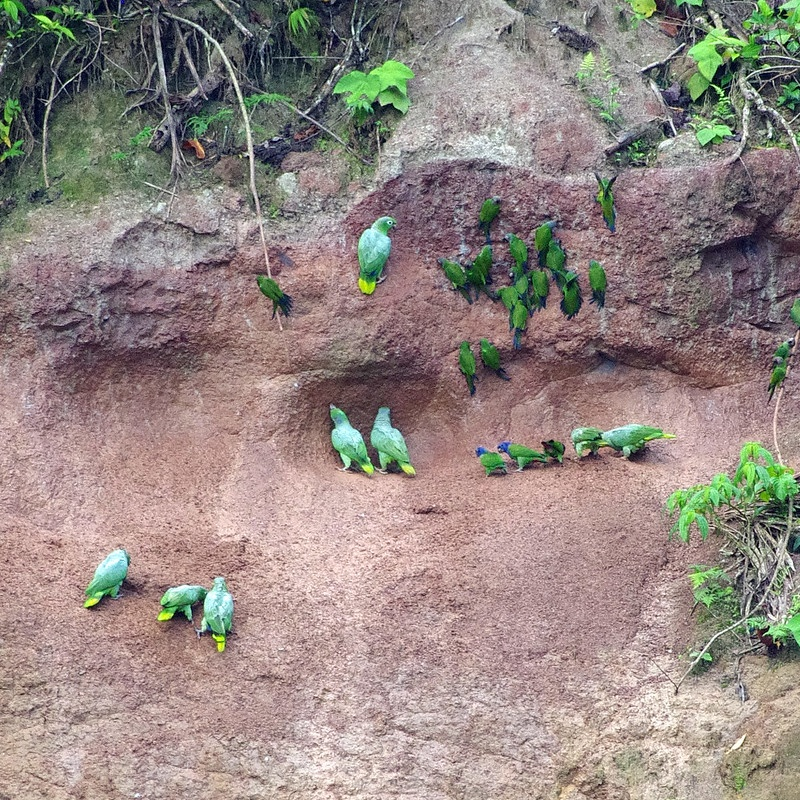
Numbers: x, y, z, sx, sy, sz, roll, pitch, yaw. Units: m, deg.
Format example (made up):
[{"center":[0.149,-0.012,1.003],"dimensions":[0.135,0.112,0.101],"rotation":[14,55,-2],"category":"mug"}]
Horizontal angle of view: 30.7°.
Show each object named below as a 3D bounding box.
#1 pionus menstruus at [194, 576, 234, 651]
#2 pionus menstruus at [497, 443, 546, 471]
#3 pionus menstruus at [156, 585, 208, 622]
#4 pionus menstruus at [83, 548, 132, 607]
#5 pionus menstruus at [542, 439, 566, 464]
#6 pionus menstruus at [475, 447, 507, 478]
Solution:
[{"center":[-1.217,1.431,9.775],"dimensions":[0.213,0.435,0.494],"rotation":[8,80,-6],"category":"pionus menstruus"},{"center":[0.938,0.405,11.148],"dimensions":[0.162,0.379,0.248],"rotation":[-14,94,-44],"category":"pionus menstruus"},{"center":[-1.473,1.387,9.962],"dimensions":[0.364,0.163,0.267],"rotation":[2,91,-48],"category":"pionus menstruus"},{"center":[-1.954,1.187,10.002],"dimensions":[0.435,0.191,0.412],"rotation":[-23,117,-52],"category":"pionus menstruus"},{"center":[1.186,0.375,11.099],"dimensions":[0.080,0.302,0.119],"rotation":[3,43,21],"category":"pionus menstruus"},{"center":[0.683,0.471,11.147],"dimensions":[0.137,0.253,0.216],"rotation":[-13,103,-35],"category":"pionus menstruus"}]
